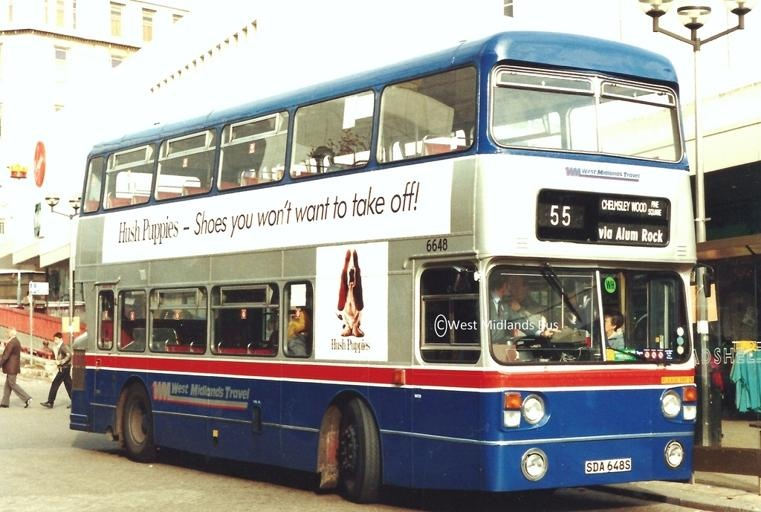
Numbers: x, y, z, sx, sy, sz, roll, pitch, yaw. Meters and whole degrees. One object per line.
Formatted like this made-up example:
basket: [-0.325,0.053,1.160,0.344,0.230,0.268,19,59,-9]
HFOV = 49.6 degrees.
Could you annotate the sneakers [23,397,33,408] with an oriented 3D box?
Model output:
sneakers: [-10.510,4.358,24.344,0.311,0.115,0.226,-41,2,9]

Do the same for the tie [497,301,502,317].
tie: [1.527,0.686,10.521,0.082,0.179,0.019,2,-7,-21]
